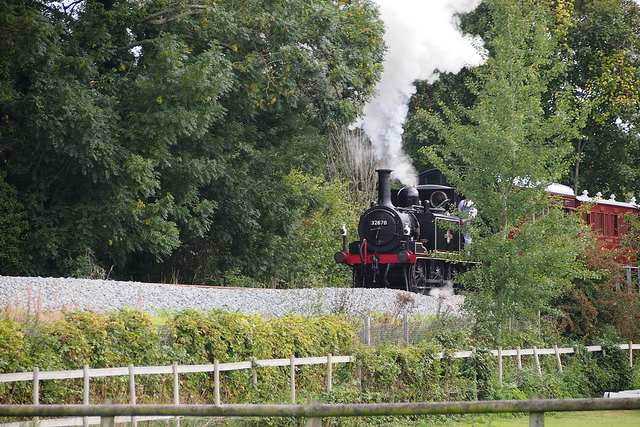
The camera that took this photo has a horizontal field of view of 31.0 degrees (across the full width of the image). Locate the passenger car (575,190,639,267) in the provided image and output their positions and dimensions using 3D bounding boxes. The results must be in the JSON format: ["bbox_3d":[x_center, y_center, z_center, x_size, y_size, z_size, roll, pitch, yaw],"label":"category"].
[{"bbox_3d":[11.792,0.574,46.830,2.165,3.089,4.939,2,-6,19],"label":"passenger car"}]

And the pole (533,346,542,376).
[{"bbox_3d":[6.555,4.441,34.585,0.270,0.825,0.557,3,-5,9],"label":"pole"}]

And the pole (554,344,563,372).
[{"bbox_3d":[7.295,4.433,35.004,0.281,0.818,0.452,3,-5,12],"label":"pole"}]

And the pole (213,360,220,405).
[{"bbox_3d":[-2.629,4.304,29.319,0.223,1.083,0.356,4,-5,-4],"label":"pole"}]

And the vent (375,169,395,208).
[{"bbox_3d":[2.496,-0.951,44.124,0.660,1.530,1.077,4,-5,3],"label":"vent"}]

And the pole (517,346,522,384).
[{"bbox_3d":[5.964,4.526,34.162,0.183,1.092,0.711,3,-5,10],"label":"pole"}]

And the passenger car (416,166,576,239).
[{"bbox_3d":[6.051,-0.776,43.139,2.338,2.734,9.225,-2,-7,42],"label":"passenger car"}]

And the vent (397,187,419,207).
[{"bbox_3d":[3.492,-0.625,45.080,0.768,0.702,0.761,0,2,9],"label":"vent"}]

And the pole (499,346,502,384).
[{"bbox_3d":[5.328,4.467,33.716,0.131,1.081,0.561,3,-5,10],"label":"pole"}]

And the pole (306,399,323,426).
[{"bbox_3d":[-0.120,4.233,24.344,0.305,0.557,0.246,4,-5,-1],"label":"pole"}]

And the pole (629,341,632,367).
[{"bbox_3d":[9.841,4.463,36.270,0.105,0.797,0.562,3,-5,14],"label":"pole"}]
